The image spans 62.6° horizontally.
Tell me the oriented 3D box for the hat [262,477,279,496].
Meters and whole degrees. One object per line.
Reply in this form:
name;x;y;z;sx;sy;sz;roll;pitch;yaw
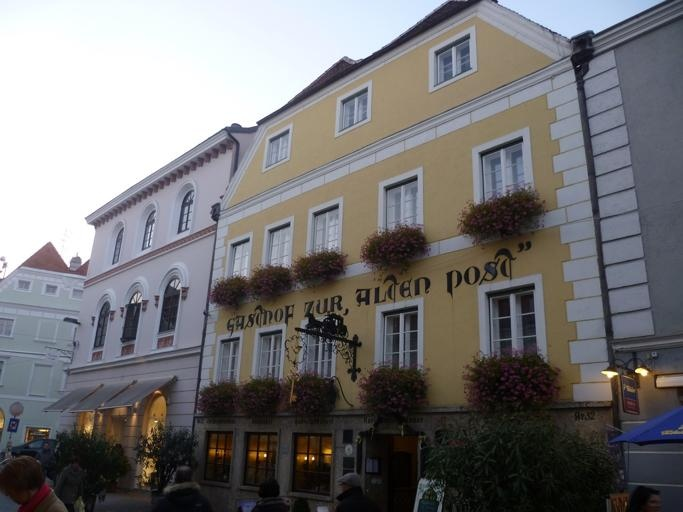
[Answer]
hat;-0.994;3.204;7.815;0.193;0.246;0.246;4;-13;-7

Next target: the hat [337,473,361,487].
hat;0.116;3.358;8.484;0.280;0.147;0.211;1;-10;42

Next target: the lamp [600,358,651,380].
lamp;5.133;2.046;10.156;0.753;0.390;0.309;-8;-33;30
